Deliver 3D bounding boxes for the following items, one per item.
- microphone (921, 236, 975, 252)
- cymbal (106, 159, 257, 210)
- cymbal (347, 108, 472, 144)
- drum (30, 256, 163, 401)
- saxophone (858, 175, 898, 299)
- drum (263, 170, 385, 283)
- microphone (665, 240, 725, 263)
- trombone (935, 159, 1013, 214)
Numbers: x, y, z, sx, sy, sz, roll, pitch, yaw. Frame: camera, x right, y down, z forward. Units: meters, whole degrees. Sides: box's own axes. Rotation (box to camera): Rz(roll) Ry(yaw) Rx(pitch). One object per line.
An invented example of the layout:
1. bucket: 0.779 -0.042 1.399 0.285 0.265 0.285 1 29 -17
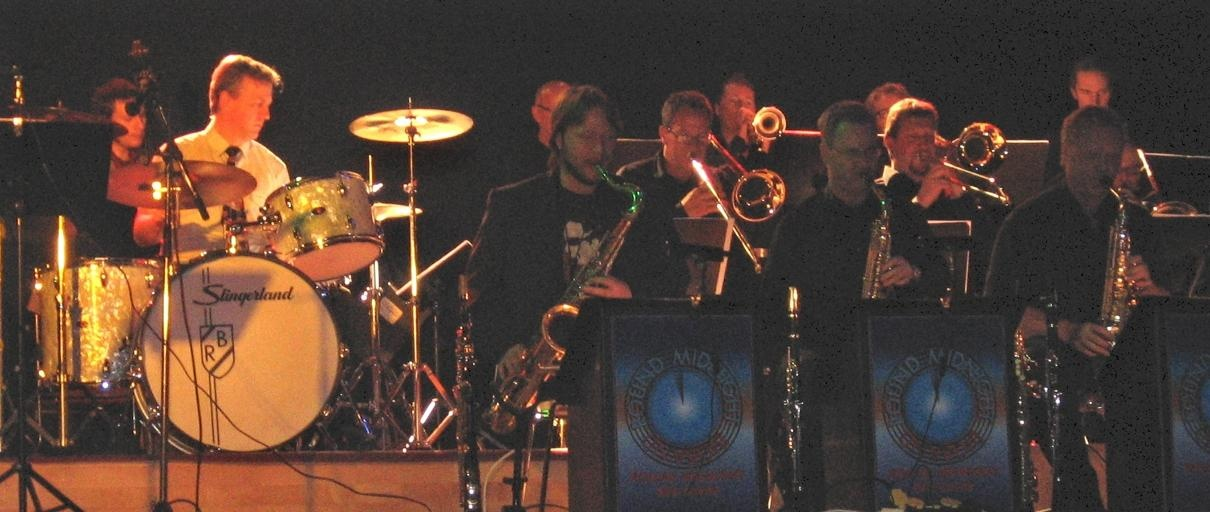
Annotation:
1. microphone: 3.431 -0.132 16.625 0.391 0.045 0.077 0 -29 -12
2. cymbal: -4.383 -0.723 16.672 1.250 0.470 0.998 -2 -6 26
3. cymbal: -2.114 -1.410 17.687 1.282 0.318 0.465 1 -6 -2
4. drum: -5.445 0.651 17.184 1.727 1.190 1.447 0 0 2
5. saxophone: 2.726 -0.125 16.716 0.354 1.066 0.300 3 1 2
6. drum: -2.945 -0.307 16.864 1.991 1.210 0.651 1 0 38
7. microphone: 0.953 -0.073 17.348 0.595 0.225 0.184 1 -6 -1
8. trombone: 3.969 -0.753 17.588 0.766 0.364 0.168 28 4 -21
